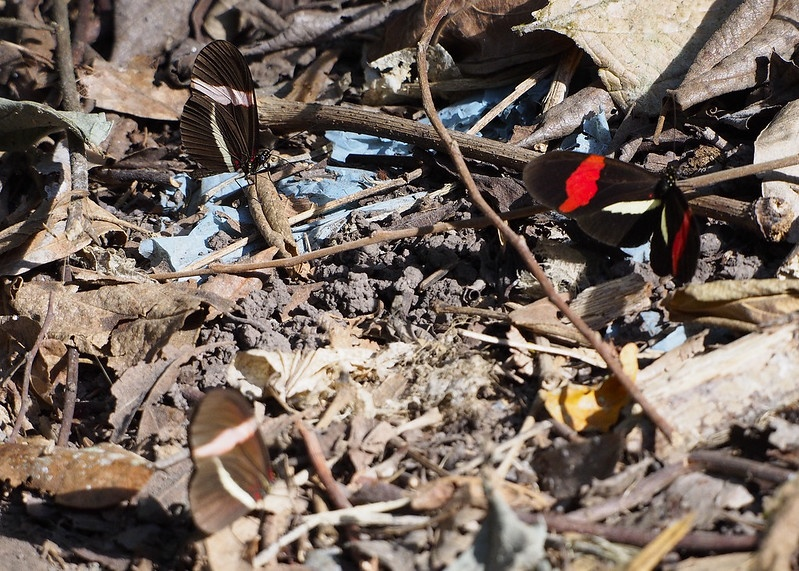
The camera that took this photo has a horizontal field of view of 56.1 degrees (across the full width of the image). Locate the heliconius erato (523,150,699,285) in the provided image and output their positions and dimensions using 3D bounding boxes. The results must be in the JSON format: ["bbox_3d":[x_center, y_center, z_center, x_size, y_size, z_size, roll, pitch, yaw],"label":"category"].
[{"bbox_3d":[0.835,-0.293,2.841,0.618,0.570,0.350,12,57,22],"label":"heliconius erato"}]
